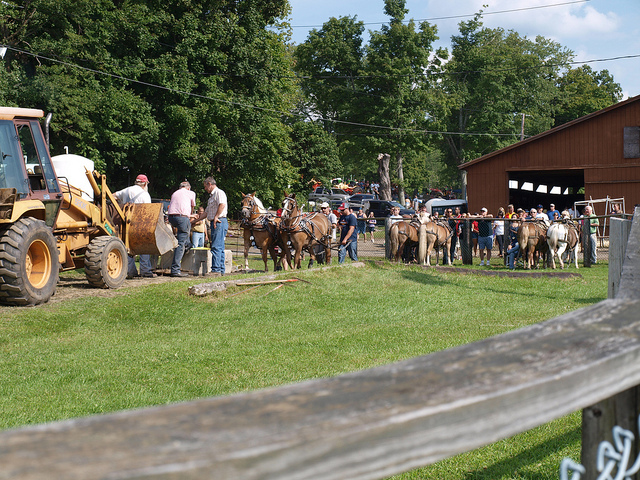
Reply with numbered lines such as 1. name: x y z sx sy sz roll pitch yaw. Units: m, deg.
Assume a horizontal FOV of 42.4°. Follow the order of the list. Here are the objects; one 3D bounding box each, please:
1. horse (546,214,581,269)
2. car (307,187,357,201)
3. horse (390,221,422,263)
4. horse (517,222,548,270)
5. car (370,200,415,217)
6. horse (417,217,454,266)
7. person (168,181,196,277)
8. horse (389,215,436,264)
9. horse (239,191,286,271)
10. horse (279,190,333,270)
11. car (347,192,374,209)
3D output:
1. horse: 7.217 0.094 24.534 0.856 1.380 1.984 7 7 24
2. car: 0.551 -2.815 51.771 2.157 0.854 1.185 -1 4 17
3. horse: 2.457 0.027 23.521 0.534 1.346 1.993 7 1 31
4. horse: 6.353 0.068 24.628 0.606 1.537 2.468 0 2 32
5. car: 3.651 -1.745 43.340 2.066 0.959 1.004 -1 4 18
6. horse: 3.541 -0.003 24.855 0.549 1.572 2.405 0 -3 33
7. person: -3.041 -0.243 17.760 0.468 2.026 0.594 4 6 1
8. horse: 2.566 -0.020 23.508 0.488 1.340 1.962 -3 0 40
9. horse: -1.428 -0.149 20.574 1.133 1.924 1.719 4 6 -4
10. horse: -0.459 -0.188 20.375 0.816 1.806 1.900 6 6 18
11. car: 2.203 -2.469 47.874 1.122 0.873 1.884 0 0 44
